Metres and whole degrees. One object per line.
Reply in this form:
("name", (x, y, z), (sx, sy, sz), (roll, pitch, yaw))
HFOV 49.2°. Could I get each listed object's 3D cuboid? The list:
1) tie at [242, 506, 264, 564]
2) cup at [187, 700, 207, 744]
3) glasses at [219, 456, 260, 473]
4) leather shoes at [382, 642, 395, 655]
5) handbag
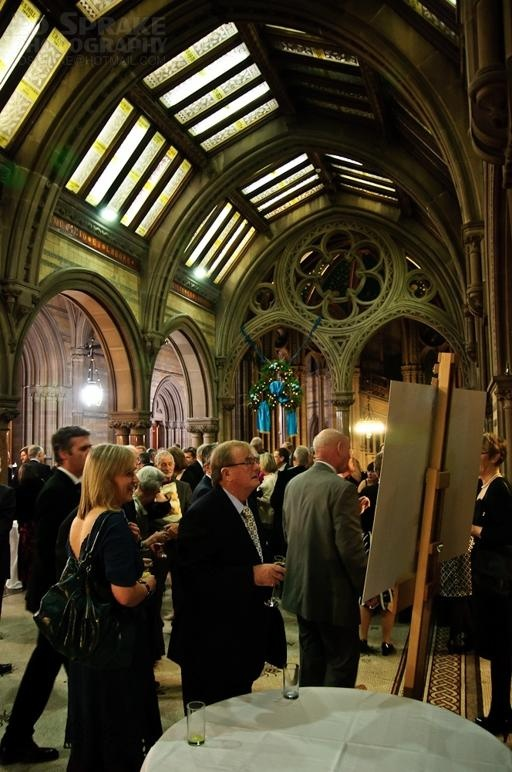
("tie", (-0.013, 0.639, 2.424), (0.101, 0.238, 0.307), (2, -5, 2))
("cup", (-0.137, 0.774, 1.280), (0.047, 0.089, 0.072), (3, -5, -5))
("glasses", (-0.068, 0.333, 2.319), (0.088, 0.027, 0.088), (-17, -24, 15))
("leather shoes", (0.949, 1.906, 4.033), (0.047, 0.061, 0.142), (-2, -13, 27))
("handbag", (-0.584, 0.640, 1.869), (0.289, 0.444, 0.196), (4, -4, 39))
